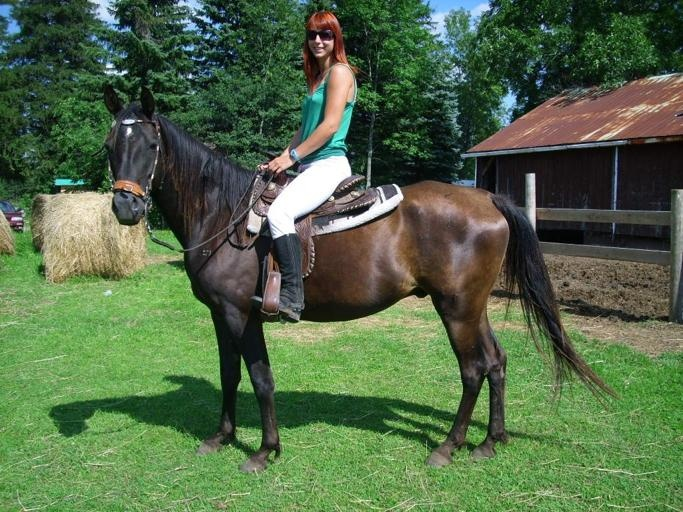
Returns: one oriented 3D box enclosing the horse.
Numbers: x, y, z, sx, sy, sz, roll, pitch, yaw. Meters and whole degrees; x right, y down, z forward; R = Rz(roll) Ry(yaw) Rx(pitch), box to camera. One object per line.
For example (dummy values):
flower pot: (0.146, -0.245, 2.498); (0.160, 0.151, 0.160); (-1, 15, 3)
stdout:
horse: (0.099, 0.400, 5.951); (5.496, 3.270, 1.241); (3, -4, 2)

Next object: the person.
person: (-0.338, -0.861, 5.456); (0.692, 2.953, 1.009); (5, 10, 31)

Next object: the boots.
boots: (-0.486, 0.204, 5.289); (0.274, 0.819, 0.312); (-1, 9, -5)
